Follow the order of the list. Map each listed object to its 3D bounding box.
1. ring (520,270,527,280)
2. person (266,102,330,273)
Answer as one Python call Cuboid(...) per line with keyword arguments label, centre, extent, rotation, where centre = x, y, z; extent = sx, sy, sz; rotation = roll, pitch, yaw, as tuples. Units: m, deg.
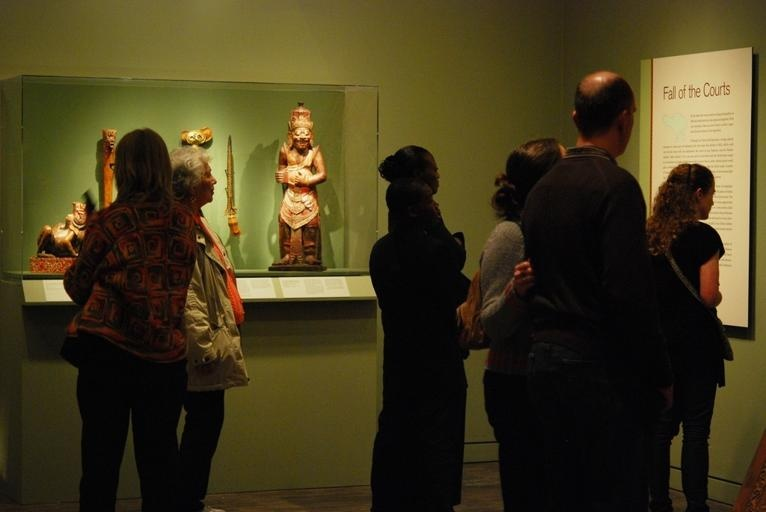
Cuboid(label="ring", centre=(0.530, 0.066, 2.549), extent=(0.035, 0.033, 0.008), rotation=(8, -1, 20))
Cuboid(label="person", centre=(-0.543, -0.446, 4.318), extent=(0.327, 1.056, 0.221), rotation=(0, 6, 12))
